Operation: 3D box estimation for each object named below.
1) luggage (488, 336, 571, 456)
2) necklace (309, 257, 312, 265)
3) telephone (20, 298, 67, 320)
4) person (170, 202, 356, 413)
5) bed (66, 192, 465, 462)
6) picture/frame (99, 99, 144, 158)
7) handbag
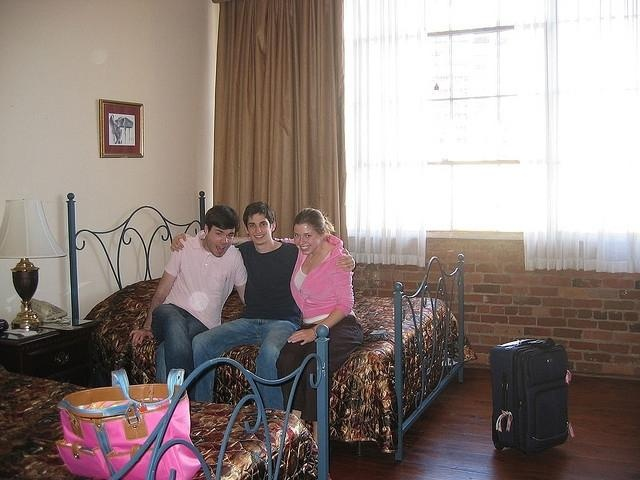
[{"bbox_3d":[1.322,0.982,3.152,0.404,0.708,0.353,-3,2,-28],"label":"luggage"},{"bbox_3d":[-0.064,0.130,3.063,0.020,0.033,0.009,4,-33,-14],"label":"necklace"},{"bbox_3d":[-1.812,0.459,3.369,0.129,0.070,0.170,18,5,39],"label":"telephone"},{"bbox_3d":[-0.392,0.474,3.097,1.060,1.384,0.800,1,1,-6],"label":"person"},{"bbox_3d":[-0.231,0.730,3.470,1.778,1.251,1.945,2,8,19],"label":"bed"},{"bbox_3d":[-1.596,-0.888,3.986,0.031,0.520,0.424,2,5,29],"label":"picture/frame"},{"bbox_3d":[-0.599,0.590,1.567,0.423,0.388,0.264,1,7,12],"label":"handbag"}]
